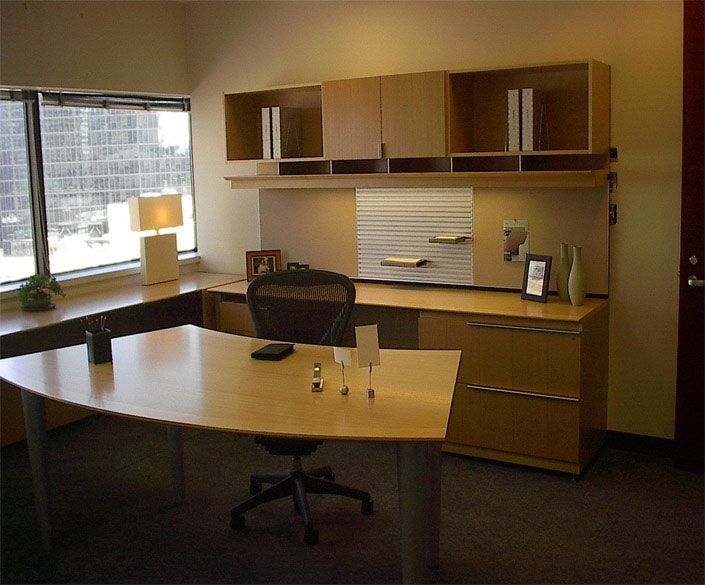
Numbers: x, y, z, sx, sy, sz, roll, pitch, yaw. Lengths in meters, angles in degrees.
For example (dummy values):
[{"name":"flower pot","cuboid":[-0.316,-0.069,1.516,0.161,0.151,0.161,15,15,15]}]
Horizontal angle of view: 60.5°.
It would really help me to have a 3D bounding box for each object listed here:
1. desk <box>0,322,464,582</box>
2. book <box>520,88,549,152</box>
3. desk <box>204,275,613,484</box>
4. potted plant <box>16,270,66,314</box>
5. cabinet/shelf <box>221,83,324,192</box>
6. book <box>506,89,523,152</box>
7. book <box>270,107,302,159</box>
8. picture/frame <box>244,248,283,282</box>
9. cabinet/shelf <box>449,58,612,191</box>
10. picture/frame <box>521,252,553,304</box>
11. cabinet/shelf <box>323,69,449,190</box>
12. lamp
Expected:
[{"name":"desk","cuboid":[-0.523,0.807,2.960,2.018,1.112,0.991,3,13,16]},{"name":"book","cuboid":[1.159,-1.109,3.848,0.125,0.372,0.389,0,15,18]},{"name":"desk","cuboid":[0.305,0.484,4.542,2.725,1.083,0.844,5,16,23]},{"name":"potted plant","cuboid":[-2.332,-0.023,4.488,0.269,0.241,0.269,-13,24,-37]},{"name":"cabinet/shelf","cuboid":[-0.535,-1.244,4.673,0.770,0.558,0.419,0,0,13]},{"name":"book","cuboid":[1.028,-1.087,3.839,0.067,0.302,0.296,0,9,-8]},{"name":"book","cuboid":[-0.508,-1.235,4.701,0.078,0.357,0.339,4,9,34]},{"name":"picture/frame","cuboid":[-0.713,-0.226,4.902,0.299,0.286,0.033,0,2,-6]},{"name":"cabinet/shelf","cuboid":[1.155,-1.068,3.920,1.000,0.663,0.363,8,13,28]},{"name":"picture/frame","cuboid":[1.231,-0.102,4.042,0.167,0.311,0.023,7,0,-4]},{"name":"cabinet/shelf","cuboid":[0.230,-1.207,4.329,0.893,0.580,0.321,-1,3,6]},{"name":"lamp","cuboid":[-1.723,-0.480,5.299,0.476,0.746,0.464,-9,15,-33]}]
